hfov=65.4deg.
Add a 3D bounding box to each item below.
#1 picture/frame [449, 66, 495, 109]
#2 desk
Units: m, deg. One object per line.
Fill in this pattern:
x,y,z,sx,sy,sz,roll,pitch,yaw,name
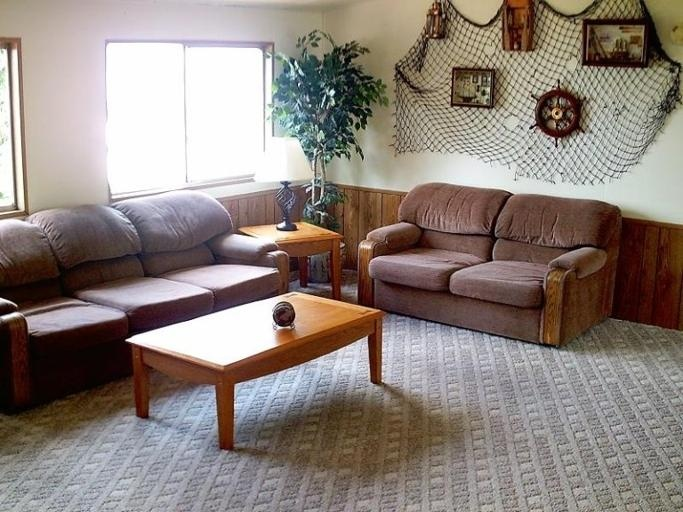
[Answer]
1.318,-1.686,5.290,0.424,0.369,0.036,8,12,37,picture/frame
-0.385,-0.155,5.333,0.842,0.826,0.843,-10,20,-29,desk
